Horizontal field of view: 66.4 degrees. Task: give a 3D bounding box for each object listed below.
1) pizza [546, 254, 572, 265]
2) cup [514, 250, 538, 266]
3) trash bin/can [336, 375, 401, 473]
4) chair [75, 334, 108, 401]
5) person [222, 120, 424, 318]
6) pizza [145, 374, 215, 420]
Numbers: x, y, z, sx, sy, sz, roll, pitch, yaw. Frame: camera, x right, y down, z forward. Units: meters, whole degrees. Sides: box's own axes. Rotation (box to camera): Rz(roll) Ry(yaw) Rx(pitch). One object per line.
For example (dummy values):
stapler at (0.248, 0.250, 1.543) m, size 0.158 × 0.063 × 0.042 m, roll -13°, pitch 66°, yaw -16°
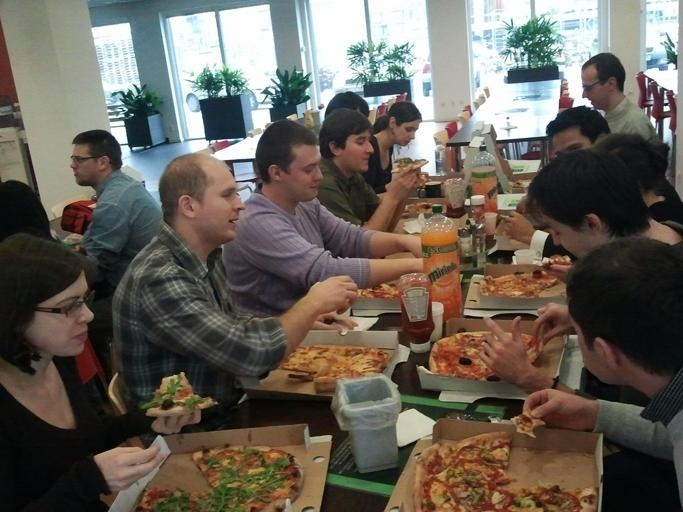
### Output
pizza at (1.041, 0.018, 2.504) m, size 0.074 × 0.031 × 0.089 m, roll 0°, pitch 6°, yaw -26°
cup at (0.913, -0.001, 2.572) m, size 0.095 × 0.040 × 0.105 m, roll 1°, pitch 4°, yaw 21°
trash bin/can at (0.072, 0.469, 1.465) m, size 0.185 × 0.212 × 0.158 m, roll -7°, pitch 17°, yaw -3°
chair at (-1.360, 0.603, 2.786) m, size 0.127 × 0.319 × 0.123 m, roll -9°, pitch -23°, yaw 11°
person at (-0.099, -0.290, 2.765) m, size 1.219 × 1.142 × 0.743 m, roll -1°, pitch 27°, yaw 6°
pizza at (-0.487, 0.436, 1.603) m, size 0.189 × 0.074 × 0.181 m, roll -3°, pitch 12°, yaw -25°
